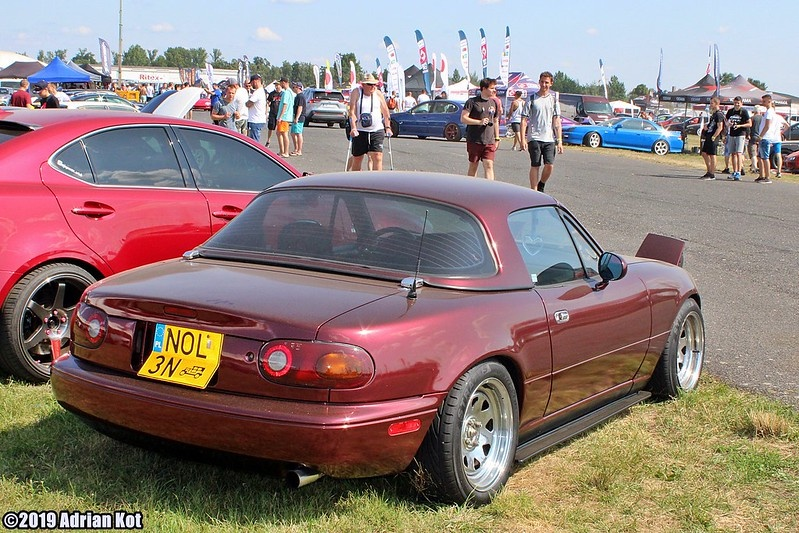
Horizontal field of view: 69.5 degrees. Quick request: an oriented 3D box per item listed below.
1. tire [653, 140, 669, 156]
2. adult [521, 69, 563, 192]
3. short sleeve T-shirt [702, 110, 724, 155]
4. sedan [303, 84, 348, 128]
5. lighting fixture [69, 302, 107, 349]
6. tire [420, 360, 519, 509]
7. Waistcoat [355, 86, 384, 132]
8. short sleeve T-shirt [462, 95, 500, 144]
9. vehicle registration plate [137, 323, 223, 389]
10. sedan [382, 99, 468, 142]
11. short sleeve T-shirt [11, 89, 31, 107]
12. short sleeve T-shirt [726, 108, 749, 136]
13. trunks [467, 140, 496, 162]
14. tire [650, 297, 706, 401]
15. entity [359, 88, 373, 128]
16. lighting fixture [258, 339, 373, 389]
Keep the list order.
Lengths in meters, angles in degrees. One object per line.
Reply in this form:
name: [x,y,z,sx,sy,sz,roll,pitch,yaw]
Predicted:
tire: [13.268,-6.074,29.096,0.753,0.752,0.248,13,20,8]
adult: [3.135,-2.935,13.002,0.917,2.703,0.763,-5,11,-27]
short sleeve T-shirt: [10.598,-4.568,19.409,0.523,1.497,1.236,9,14,27]
sedan: [-3.974,-8.776,31.477,2.006,1.710,4.336,0,12,-9]
lighting fixture: [-1.751,0.338,3.315,0.211,0.299,0.099,10,0,25]
tire: [0.426,0.947,3.314,0.281,0.787,0.796,-6,0,42]
Waistcoat: [-0.597,-3.492,12.624,0.662,0.965,0.517,12,21,36]
short sleeve T-shirt: [1.794,-3.232,12.652,0.719,1.029,0.380,4,12,7]
vehicle registration plate: [-1.140,0.448,2.957,0.432,0.237,0.155,5,11,20]
sedan: [1.592,-7.348,29.313,4.813,1.597,2.199,7,12,26]
short sleeve T-shirt: [-11.899,-5.330,18.057,0.450,0.517,0.749,-5,14,-29]
short sleeve T-shirt: [11.538,-4.940,19.588,0.665,0.954,0.646,9,14,27]
trunks: [1.827,-2.582,12.846,0.692,0.636,0.398,0,18,-2]
tire: [2.339,0.701,4.856,0.254,0.722,0.724,1,18,45]
entity: [-0.712,-3.435,12.496,0.394,0.897,0.293,3,12,2]
lighting fixture: [-0.408,0.474,2.814,0.560,0.218,0.077,3,12,1]
